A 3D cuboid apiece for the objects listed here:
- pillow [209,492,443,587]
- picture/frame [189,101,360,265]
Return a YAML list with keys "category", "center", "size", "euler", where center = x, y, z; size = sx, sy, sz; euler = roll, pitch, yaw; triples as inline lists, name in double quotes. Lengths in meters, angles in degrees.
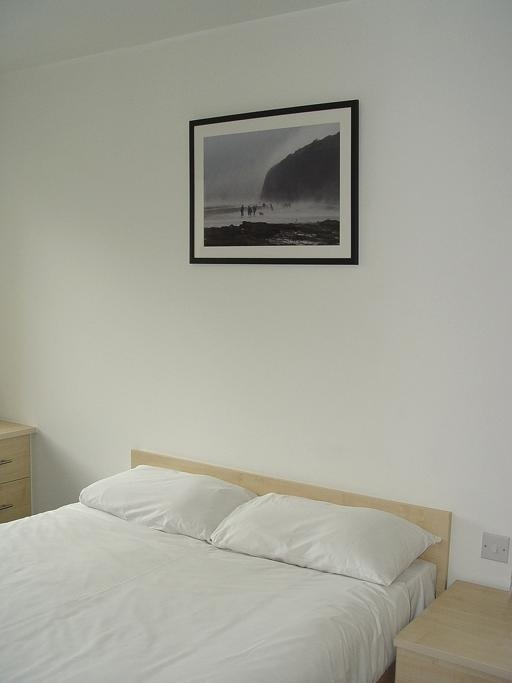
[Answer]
- category: "pillow"
  center: [0.187, 0.636, 1.934]
  size: [0.530, 0.112, 0.297]
  euler: [3, 17, 37]
- category: "picture/frame"
  center: [0.094, -0.631, 2.308]
  size: [0.710, 0.546, 0.028]
  euler: [3, 7, 37]
